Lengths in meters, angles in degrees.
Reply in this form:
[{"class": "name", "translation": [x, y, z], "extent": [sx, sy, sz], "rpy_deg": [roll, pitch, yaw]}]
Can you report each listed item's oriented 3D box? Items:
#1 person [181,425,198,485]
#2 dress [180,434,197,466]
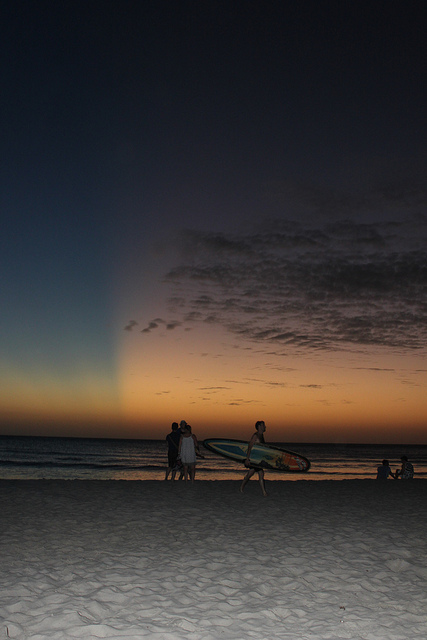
[{"class": "person", "translation": [-0.555, 2.986, 13.491], "extent": [0.366, 1.375, 1.132], "rpy_deg": [3, -5, -1]}, {"class": "dress", "translation": [-0.575, 2.858, 13.387], "extent": [0.343, 0.742, 0.579], "rpy_deg": [3, -5, -3]}]
